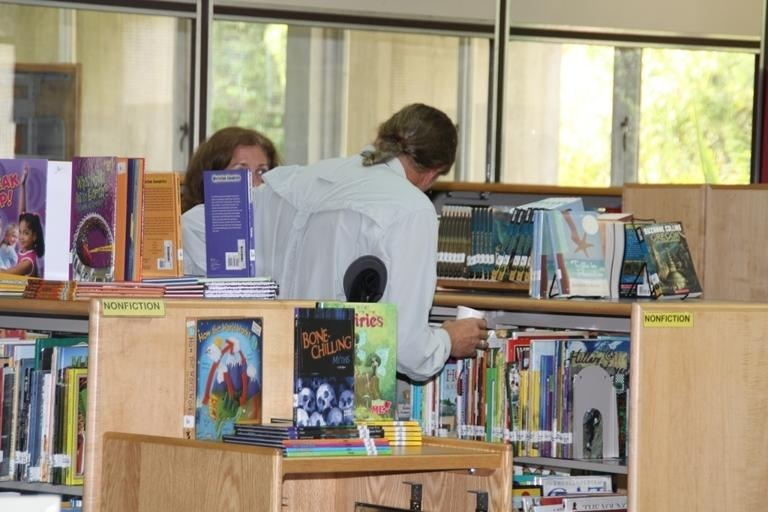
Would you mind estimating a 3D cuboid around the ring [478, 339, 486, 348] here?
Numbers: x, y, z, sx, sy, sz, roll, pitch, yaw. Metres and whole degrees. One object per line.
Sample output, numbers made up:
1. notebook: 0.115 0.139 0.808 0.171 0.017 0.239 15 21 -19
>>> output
1. ring: 0.488 0.450 8.174 0.028 0.041 0.035 -1 -40 2
